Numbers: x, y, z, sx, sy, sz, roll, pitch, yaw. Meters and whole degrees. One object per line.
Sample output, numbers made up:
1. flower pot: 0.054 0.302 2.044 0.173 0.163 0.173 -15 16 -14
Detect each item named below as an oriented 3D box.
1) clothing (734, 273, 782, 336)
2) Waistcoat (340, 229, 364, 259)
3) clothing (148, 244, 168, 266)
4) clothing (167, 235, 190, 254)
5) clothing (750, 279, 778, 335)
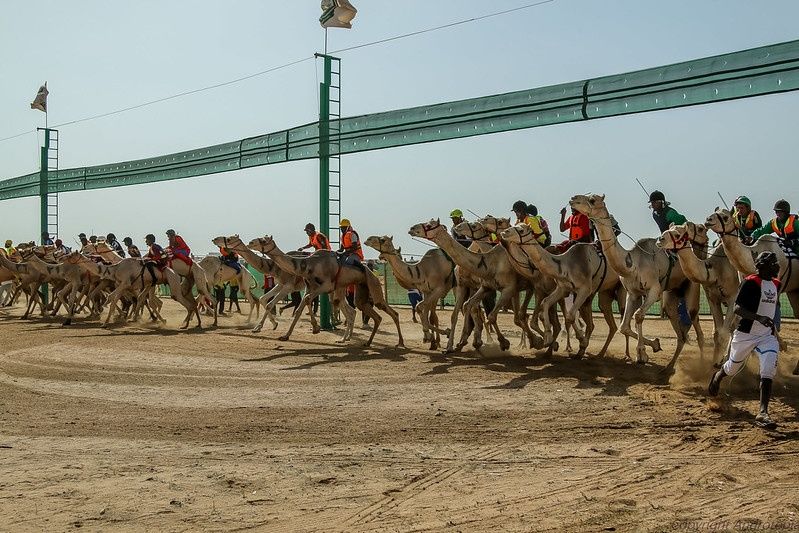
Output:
1. clothing: 5.305 0.563 11.795 0.856 0.859 0.509 6 6 -26
2. Waistcoat: -1.133 -0.456 18.535 0.452 0.619 0.596 12 -24 -26
3. clothing: -6.458 -0.246 21.196 0.473 0.523 0.462 -30 2 0
4. clothing: -5.941 -0.506 21.328 0.515 0.694 0.295 -12 -41 -33
5. clothing: 5.341 0.590 11.593 0.297 0.765 0.583 5 10 36
